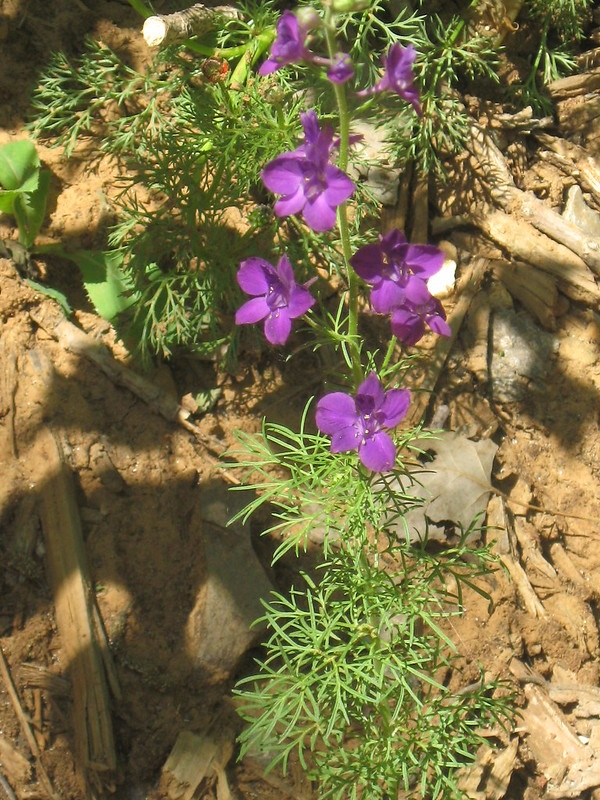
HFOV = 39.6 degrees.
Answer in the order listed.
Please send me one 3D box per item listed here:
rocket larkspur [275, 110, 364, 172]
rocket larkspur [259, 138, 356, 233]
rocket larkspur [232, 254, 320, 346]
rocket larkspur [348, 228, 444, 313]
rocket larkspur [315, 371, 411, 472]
[{"bbox_3d":[0.074,-0.731,2.426,0.235,0.093,0.227,15,22,28],"label":"rocket larkspur"},{"bbox_3d":[0.025,-0.599,2.333,0.275,0.245,0.114,17,21,11],"label":"rocket larkspur"},{"bbox_3d":[-0.036,-0.334,2.618,0.290,0.234,0.121,56,39,-4],"label":"rocket larkspur"},{"bbox_3d":[0.301,-0.382,2.511,0.208,0.223,0.256,32,56,25],"label":"rocket larkspur"},{"bbox_3d":[0.182,0.140,2.608,0.264,0.442,0.270,11,51,10],"label":"rocket larkspur"}]
